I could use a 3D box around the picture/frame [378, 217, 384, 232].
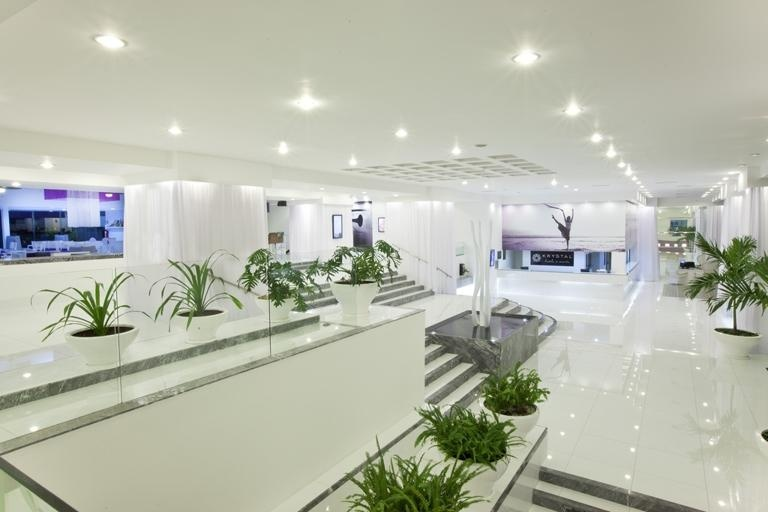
[{"bbox_3d":[-0.122,-1.233,16.437,0.251,0.578,0.315,-3,6,-6],"label":"picture/frame"}]

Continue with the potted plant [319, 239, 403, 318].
[{"bbox_3d":[-0.313,0.262,6.108,1.062,0.717,1.054,0,3,3],"label":"potted plant"}]

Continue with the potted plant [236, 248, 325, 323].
[{"bbox_3d":[-1.231,0.313,4.867,0.770,0.540,0.773,8,10,43],"label":"potted plant"}]

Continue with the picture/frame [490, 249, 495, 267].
[{"bbox_3d":[4.305,0.041,16.761,0.162,0.719,0.296,0,7,21],"label":"picture/frame"}]

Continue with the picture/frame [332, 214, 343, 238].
[{"bbox_3d":[-1.625,-1.060,14.709,0.089,0.944,0.832,0,2,28],"label":"picture/frame"}]

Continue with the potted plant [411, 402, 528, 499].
[{"bbox_3d":[0.810,1.732,4.137,0.948,0.645,0.985,0,7,5],"label":"potted plant"}]
